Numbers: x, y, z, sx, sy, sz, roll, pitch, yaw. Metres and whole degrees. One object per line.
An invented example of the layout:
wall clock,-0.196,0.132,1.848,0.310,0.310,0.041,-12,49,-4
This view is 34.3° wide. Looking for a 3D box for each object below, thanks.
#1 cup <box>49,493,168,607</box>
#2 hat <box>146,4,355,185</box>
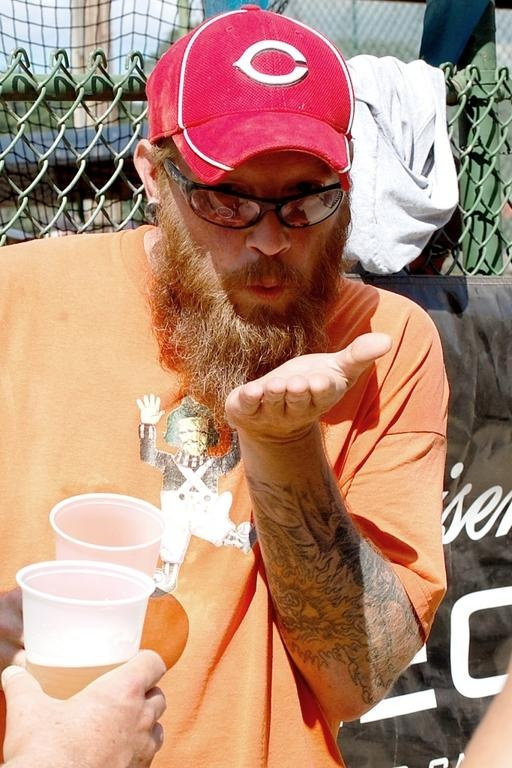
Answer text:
cup,-0.289,0.286,1.529,0.186,0.112,0.185,9,21,-4
hat,-0.028,-0.692,1.945,0.377,0.256,0.472,-1,24,-17
